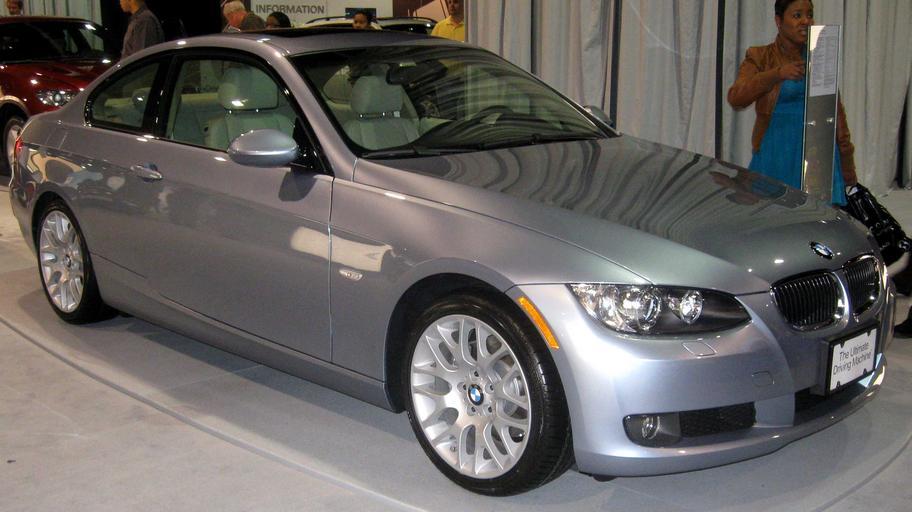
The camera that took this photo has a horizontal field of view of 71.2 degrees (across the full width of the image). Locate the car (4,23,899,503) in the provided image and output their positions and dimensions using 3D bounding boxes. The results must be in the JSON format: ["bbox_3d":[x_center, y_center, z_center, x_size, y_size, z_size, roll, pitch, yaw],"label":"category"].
[{"bbox_3d":[-0.398,-0.152,4.139,5.377,1.798,2.521,14,21,33],"label":"car"}]
